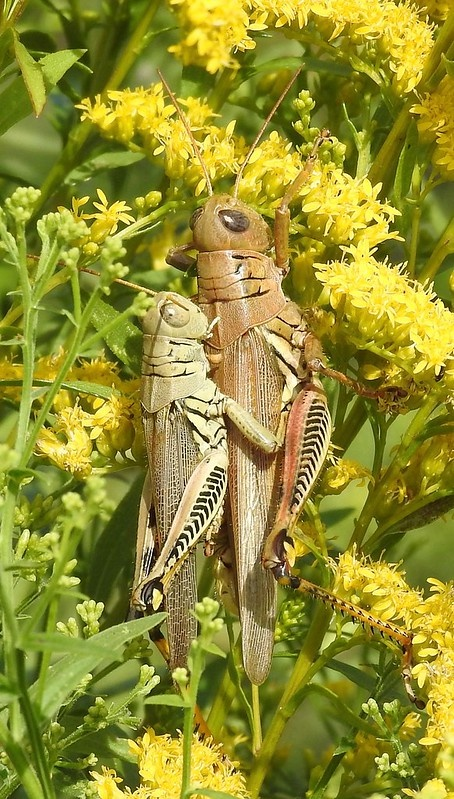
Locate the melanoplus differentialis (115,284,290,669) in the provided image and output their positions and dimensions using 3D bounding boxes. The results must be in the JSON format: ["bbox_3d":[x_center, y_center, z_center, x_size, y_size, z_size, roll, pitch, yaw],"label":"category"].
[{"bbox_3d":[-0.076,0.133,1.507,0.174,0.564,0.393,0,1,-39],"label":"melanoplus differentialis"}]
